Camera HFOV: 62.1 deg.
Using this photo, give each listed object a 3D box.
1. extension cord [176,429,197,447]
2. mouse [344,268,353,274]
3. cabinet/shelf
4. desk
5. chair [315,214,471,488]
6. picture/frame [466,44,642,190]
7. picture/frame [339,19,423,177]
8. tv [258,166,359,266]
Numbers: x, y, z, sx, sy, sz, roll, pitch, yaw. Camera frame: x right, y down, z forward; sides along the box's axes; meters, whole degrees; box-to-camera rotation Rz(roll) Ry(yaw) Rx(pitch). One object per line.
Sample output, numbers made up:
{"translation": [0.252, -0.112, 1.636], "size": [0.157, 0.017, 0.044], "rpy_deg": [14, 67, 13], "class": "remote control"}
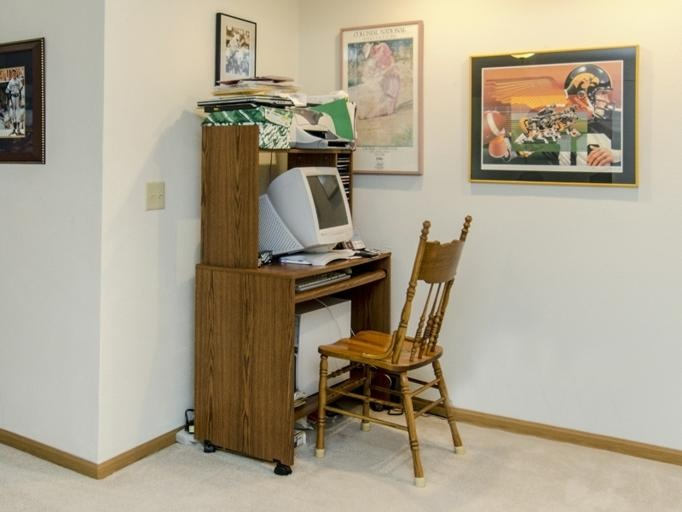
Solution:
{"translation": [-0.861, 1.011, 3.149], "size": [0.084, 0.037, 0.084], "rpy_deg": [1, -3, 15], "class": "extension cord"}
{"translation": [0.055, 0.086, 3.308], "size": [0.034, 0.024, 0.034], "rpy_deg": [2, 0, -10], "class": "mouse"}
{"translation": [-0.103, -0.443, 4.072], "size": [0.446, 0.838, 1.118], "rpy_deg": [18, 14, 20], "class": "cabinet/shelf"}
{"translation": [-0.228, 0.446, 3.466], "size": [0.726, 0.954, 1.209], "rpy_deg": [7, 11, 29], "class": "desk"}
{"translation": [0.271, 0.457, 3.100], "size": [0.825, 1.239, 0.881], "rpy_deg": [0, 3, -24], "class": "chair"}
{"translation": [1.203, -0.775, 3.086], "size": [0.879, 0.718, 0.033], "rpy_deg": [1, 5, 28], "class": "picture/frame"}
{"translation": [0.253, -0.975, 3.511], "size": [0.597, 0.892, 0.120], "rpy_deg": [7, 14, 27], "class": "picture/frame"}
{"translation": [-0.197, -0.224, 3.157], "size": [0.510, 0.463, 0.535], "rpy_deg": [3, 6, 21], "class": "tv"}
